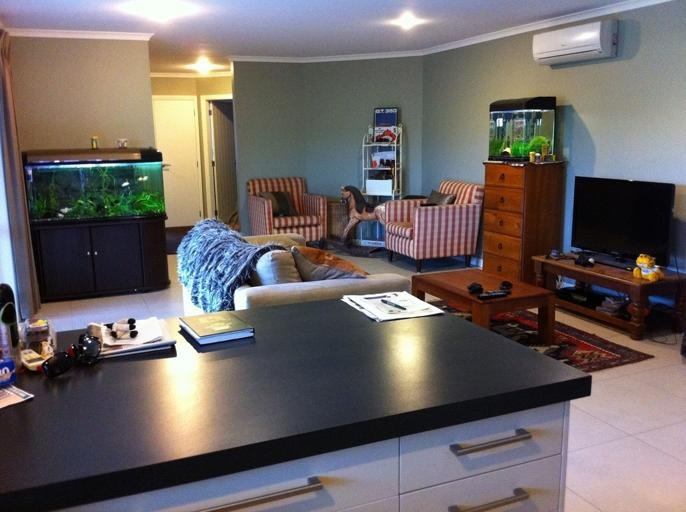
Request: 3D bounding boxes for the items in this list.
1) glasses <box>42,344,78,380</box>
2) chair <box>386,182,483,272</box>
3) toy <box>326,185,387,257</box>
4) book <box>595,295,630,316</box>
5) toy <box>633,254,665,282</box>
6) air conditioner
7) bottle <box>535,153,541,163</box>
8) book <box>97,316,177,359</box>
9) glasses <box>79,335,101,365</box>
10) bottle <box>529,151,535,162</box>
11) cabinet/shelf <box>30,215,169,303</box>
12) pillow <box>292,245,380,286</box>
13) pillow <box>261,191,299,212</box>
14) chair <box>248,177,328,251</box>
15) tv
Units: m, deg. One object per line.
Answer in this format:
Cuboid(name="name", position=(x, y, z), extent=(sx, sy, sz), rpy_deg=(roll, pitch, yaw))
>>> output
Cuboid(name="glasses", position=(-0.858, 0.319, 1.544), extent=(0.094, 0.047, 0.125), rpy_deg=(-12, 10, 35))
Cuboid(name="chair", position=(1.139, -0.496, 6.705), extent=(1.219, 1.209, 1.137), rpy_deg=(-4, 11, -20))
Cuboid(name="toy", position=(0.416, -0.558, 7.396), extent=(1.333, 0.866, 0.352), rpy_deg=(11, 6, 44))
Cuboid(name="book", position=(2.382, 0.442, 4.510), extent=(0.156, 0.058, 0.197), rpy_deg=(-1, 6, -14))
Cuboid(name="toy", position=(2.517, 0.091, 4.251), extent=(0.229, 0.213, 0.225), rpy_deg=(-1, 9, 0))
Cuboid(name="air conditioner", position=(2.283, -2.085, 5.016), extent=(0.305, 0.338, 0.779), rpy_deg=(-8, 15, -25))
Cuboid(name="bottle", position=(2.035, -1.017, 5.299), extent=(0.056, 0.093, 0.135), rpy_deg=(3, 15, 20))
Cuboid(name="book", position=(-0.688, 0.288, 1.698), extent=(0.159, 0.037, 0.159), rpy_deg=(-7, 17, -28))
Cuboid(name="glasses", position=(-0.785, 0.293, 1.614), extent=(0.068, 0.082, 0.088), rpy_deg=(16, 42, -29))
Cuboid(name="bottle", position=(1.972, -1.023, 5.280), extent=(0.070, 0.111, 0.143), rpy_deg=(3, 14, 18))
Cuboid(name="cabinet/shelf", position=(-2.724, -0.221, 5.743), extent=(1.718, 1.093, 0.836), rpy_deg=(-6, 11, -28))
Cuboid(name="pillow", position=(-0.112, 0.062, 3.134), extent=(0.284, 0.089, 0.305), rpy_deg=(14, 4, -15))
Cuboid(name="pillow", position=(-0.902, -0.810, 7.622), extent=(0.687, 0.298, 0.419), rpy_deg=(-14, 19, -43))
Cuboid(name="chair", position=(-0.847, -0.672, 7.695), extent=(1.201, 0.976, 1.188), rpy_deg=(7, 13, 36))
Cuboid(name="tv", position=(2.486, -0.305, 4.651), extent=(1.080, 0.739, 0.284), rpy_deg=(6, -1, -14))
